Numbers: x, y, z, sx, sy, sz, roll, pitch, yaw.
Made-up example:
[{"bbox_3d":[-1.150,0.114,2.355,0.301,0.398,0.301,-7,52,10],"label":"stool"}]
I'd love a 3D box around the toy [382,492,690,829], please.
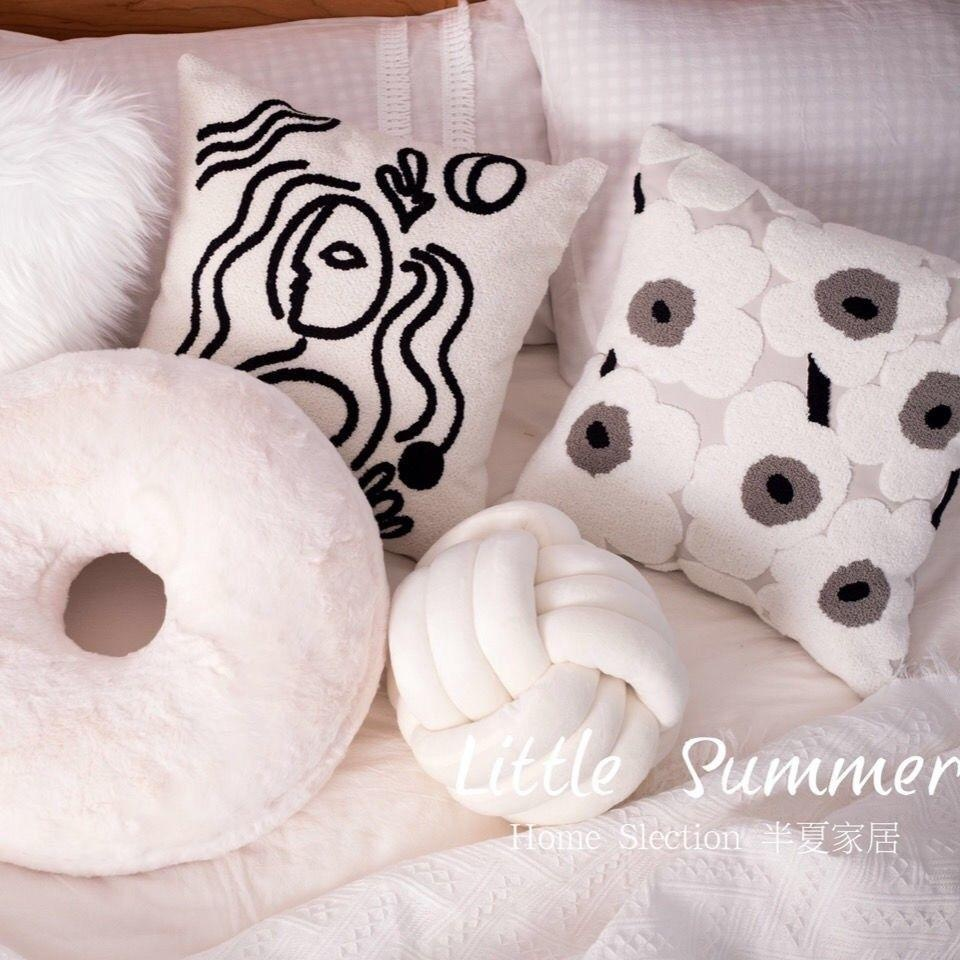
[{"bbox_3d":[0.056,0.151,0.972,0.298,0.132,0.239,-10,78,8],"label":"toy"}]
